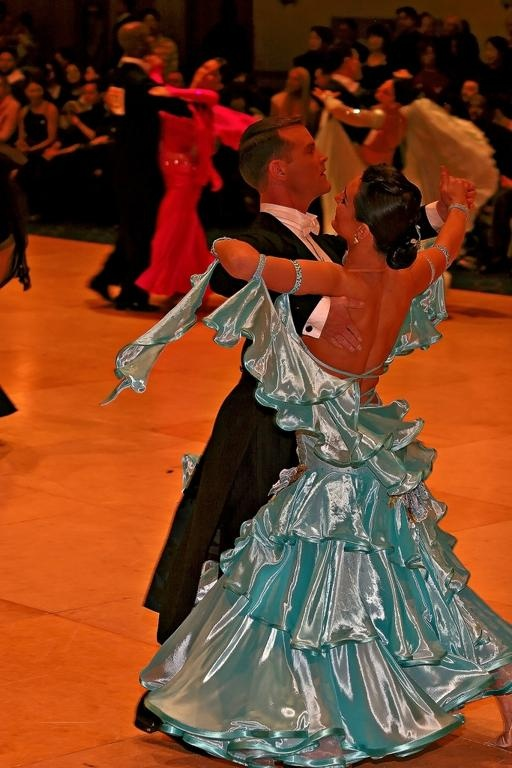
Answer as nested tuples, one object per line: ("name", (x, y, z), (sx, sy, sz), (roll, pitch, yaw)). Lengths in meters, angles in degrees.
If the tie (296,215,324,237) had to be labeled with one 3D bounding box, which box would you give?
("tie", (0.121, -0.362, 1.647), (0.026, 0.050, 0.058), (9, 10, 43))
